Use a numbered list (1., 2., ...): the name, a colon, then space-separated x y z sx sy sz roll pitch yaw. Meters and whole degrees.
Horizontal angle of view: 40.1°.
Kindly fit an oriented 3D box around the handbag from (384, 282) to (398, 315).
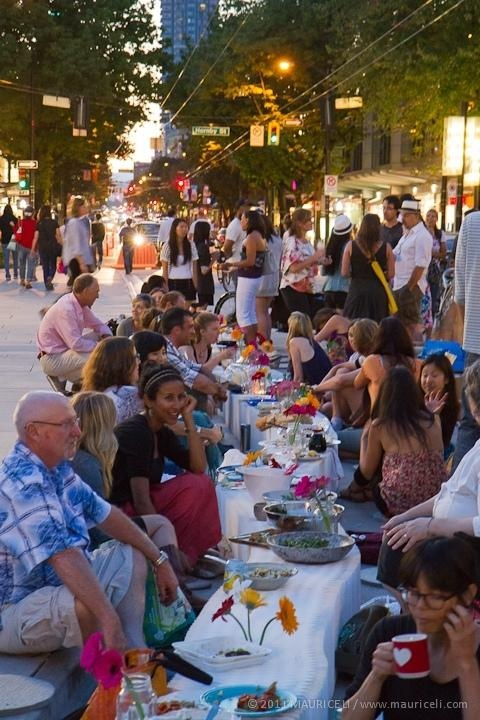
1. handbag: 2.212 -0.893 9.504 0.131 0.368 0.261 -11 9 -27

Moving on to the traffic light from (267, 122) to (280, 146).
1. traffic light: 1.553 -10.679 30.556 0.444 1.136 1.265 3 5 -2

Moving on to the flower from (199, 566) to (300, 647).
1. flower: 0.041 0.862 2.430 0.278 0.354 0.306 -5 9 -32

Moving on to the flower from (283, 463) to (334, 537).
1. flower: 0.420 0.731 3.462 0.261 0.404 0.236 -7 -2 19

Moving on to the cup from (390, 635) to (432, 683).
1. cup: 0.371 0.649 1.425 0.101 0.074 0.063 -9 2 15

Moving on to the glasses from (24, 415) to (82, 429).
1. glasses: -0.690 0.229 2.420 0.173 0.041 0.052 1 6 -33

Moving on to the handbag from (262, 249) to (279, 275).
1. handbag: 0.529 -1.785 11.767 0.218 0.529 0.510 1 4 24

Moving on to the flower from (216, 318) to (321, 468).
1. flower: 0.373 0.704 7.623 0.304 1.253 1.262 38 32 -20

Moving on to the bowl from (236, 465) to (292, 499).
1. bowl: 0.161 0.739 4.067 0.218 0.146 0.223 0 3 0
